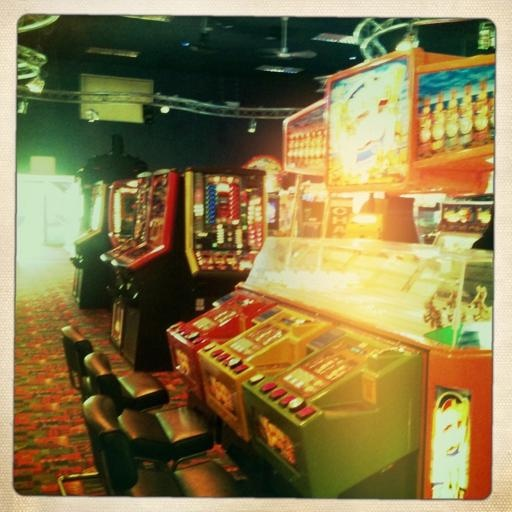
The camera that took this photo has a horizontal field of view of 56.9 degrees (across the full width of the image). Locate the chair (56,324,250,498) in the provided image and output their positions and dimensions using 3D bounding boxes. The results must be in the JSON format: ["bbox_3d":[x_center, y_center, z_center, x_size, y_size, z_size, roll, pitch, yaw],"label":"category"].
[{"bbox_3d":[-0.454,0.697,2.008,0.733,0.689,0.846,-3,8,-23],"label":"chair"}]

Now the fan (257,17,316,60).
[{"bbox_3d":[0.135,-0.953,2.137,0.248,0.205,0.158,2,22,3],"label":"fan"}]
